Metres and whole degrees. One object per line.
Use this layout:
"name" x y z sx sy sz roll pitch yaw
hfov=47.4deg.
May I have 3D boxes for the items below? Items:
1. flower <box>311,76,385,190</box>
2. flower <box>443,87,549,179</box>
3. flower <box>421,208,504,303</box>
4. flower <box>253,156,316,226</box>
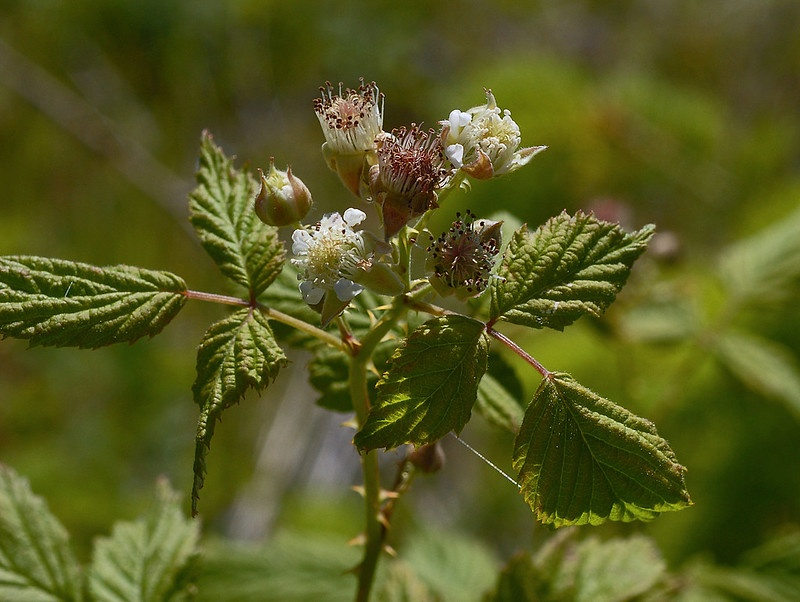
"flower" -0.135 -0.455 2.333 0.175 0.403 0.233 6 -27 -4
"flower" 0.208 -0.372 2.257 0.219 0.259 0.123 5 -58 -22
"flower" 0.175 -0.121 2.254 0.217 0.117 0.193 -18 -1 -1
"flower" -0.298 -0.264 2.300 0.127 0.201 0.142 -4 15 29
